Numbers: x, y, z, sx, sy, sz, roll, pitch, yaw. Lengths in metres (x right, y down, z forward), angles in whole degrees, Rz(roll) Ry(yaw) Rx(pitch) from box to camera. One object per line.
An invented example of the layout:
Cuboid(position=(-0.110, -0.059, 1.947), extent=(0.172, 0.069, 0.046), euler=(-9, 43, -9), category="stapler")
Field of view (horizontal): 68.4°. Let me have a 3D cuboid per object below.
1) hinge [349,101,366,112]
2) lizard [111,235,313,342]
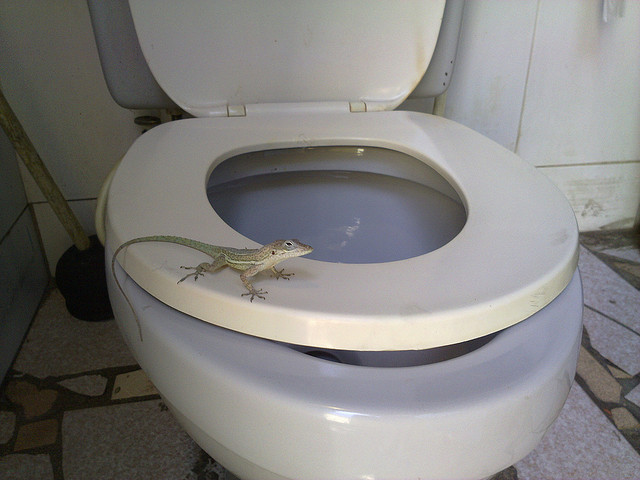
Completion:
Cuboid(position=(0.080, -0.282, 0.997), extent=(0.027, 0.015, 0.021), euler=(-2, 55, -3), category="hinge")
Cuboid(position=(-0.114, 0.057, 0.664), extent=(0.160, 0.040, 0.148), euler=(22, 59, 14), category="lizard")
